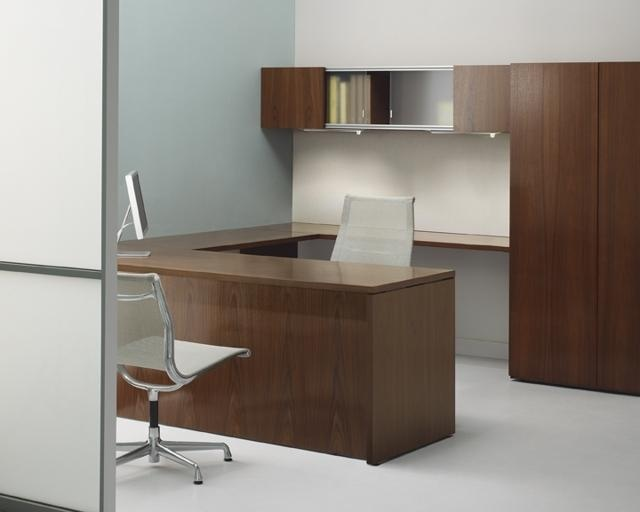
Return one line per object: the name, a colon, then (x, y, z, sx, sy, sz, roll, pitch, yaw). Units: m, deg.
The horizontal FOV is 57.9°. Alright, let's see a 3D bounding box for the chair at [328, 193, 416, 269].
chair: (0.463, -0.211, 4.712, 0.485, 0.962, 0.607, 3, 3, 21)
